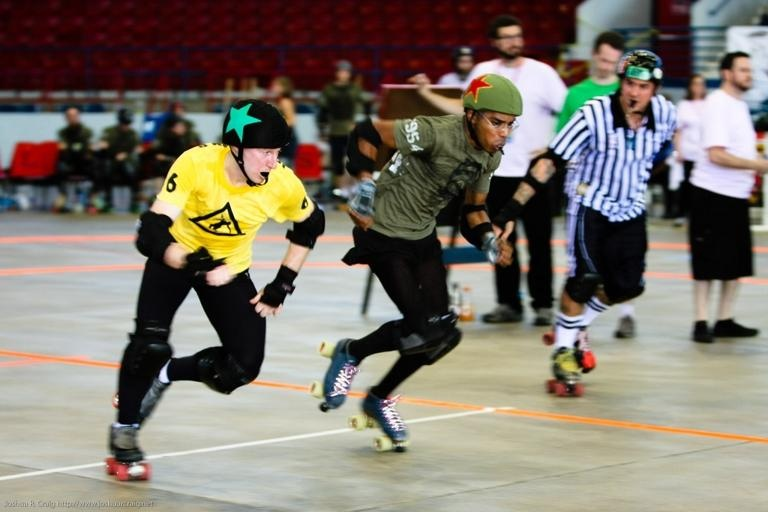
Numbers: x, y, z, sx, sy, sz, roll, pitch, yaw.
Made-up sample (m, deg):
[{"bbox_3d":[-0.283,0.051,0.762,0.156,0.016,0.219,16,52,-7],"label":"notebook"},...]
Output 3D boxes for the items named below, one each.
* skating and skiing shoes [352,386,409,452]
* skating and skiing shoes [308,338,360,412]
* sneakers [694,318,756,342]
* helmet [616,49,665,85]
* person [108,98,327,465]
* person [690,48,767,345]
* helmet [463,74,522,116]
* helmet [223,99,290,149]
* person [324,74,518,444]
[{"bbox_3d":[0.043,0.951,5.352,0.318,0.235,0.537,-9,22,-13],"label":"skating and skiing shoes"},{"bbox_3d":[-0.256,0.707,5.413,0.261,0.440,0.239,32,-37,-28],"label":"skating and skiing shoes"},{"bbox_3d":[3.003,0.649,7.868,0.656,0.190,0.215,-1,0,-2],"label":"sneakers"},{"bbox_3d":[1.813,-1.268,6.148,0.315,0.211,0.219,23,2,-25],"label":"helmet"},{"bbox_3d":[-0.900,0.142,4.771,1.158,1.923,0.582,-2,11,-14],"label":"person"},{"bbox_3d":[2.996,-0.511,7.801,0.676,2.491,0.676,4,11,17],"label":"person"},{"bbox_3d":[0.614,-0.934,5.199,0.244,0.147,0.309,1,28,-39],"label":"helmet"},{"bbox_3d":[-0.659,-0.653,4.614,0.248,0.229,0.317,-6,29,-44],"label":"helmet"},{"bbox_3d":[0.255,0.014,5.376,1.184,2.161,0.738,-8,13,-40],"label":"person"}]
